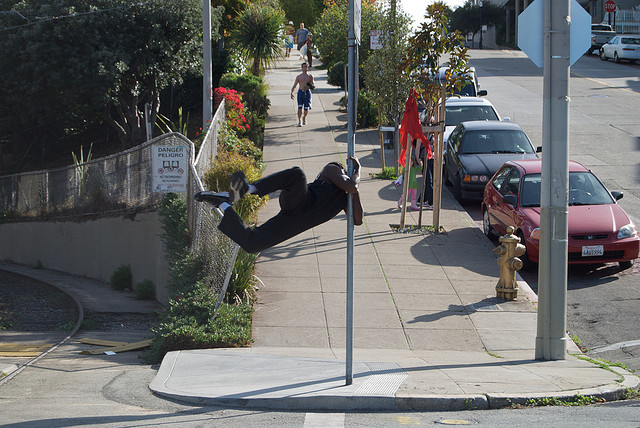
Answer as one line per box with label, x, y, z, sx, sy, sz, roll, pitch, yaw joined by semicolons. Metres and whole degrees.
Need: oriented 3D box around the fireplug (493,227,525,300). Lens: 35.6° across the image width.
fireplug;4.437;1.142;23.112;0.668;1.650;0.581;-3;8;-3
